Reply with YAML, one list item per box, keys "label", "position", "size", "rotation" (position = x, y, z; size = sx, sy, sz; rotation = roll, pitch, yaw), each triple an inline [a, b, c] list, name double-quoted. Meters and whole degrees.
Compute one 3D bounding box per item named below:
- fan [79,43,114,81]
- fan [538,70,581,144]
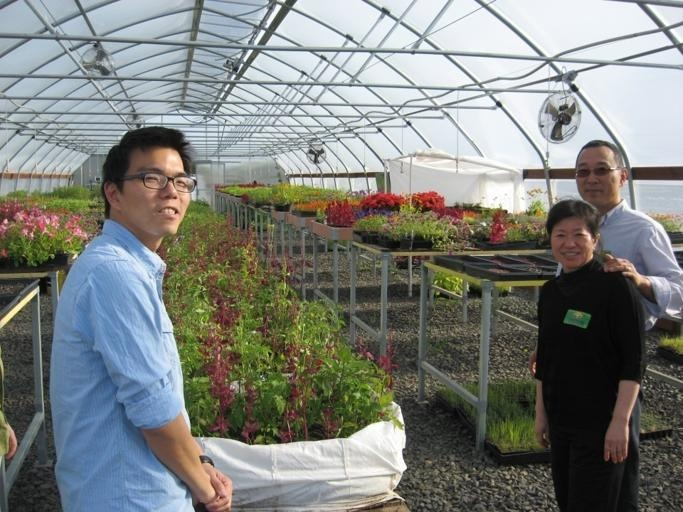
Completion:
- label: "fan"
  position: [-4.004, -3.278, 8.379]
  size: [0.435, 0.421, 0.365]
  rotation: [0, 1, -6]
- label: "fan"
  position: [3.620, -2.394, 8.292]
  size: [0.635, 1.054, 0.279]
  rotation: [12, 9, 40]
